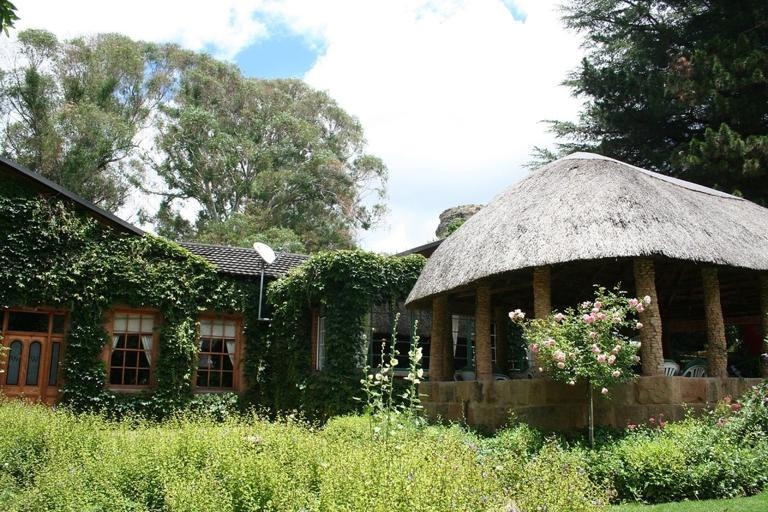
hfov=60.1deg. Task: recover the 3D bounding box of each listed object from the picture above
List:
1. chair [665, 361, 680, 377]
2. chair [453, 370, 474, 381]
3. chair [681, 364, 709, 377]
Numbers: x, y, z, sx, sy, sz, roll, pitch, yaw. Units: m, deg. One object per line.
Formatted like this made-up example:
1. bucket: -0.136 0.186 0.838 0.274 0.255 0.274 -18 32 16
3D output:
1. chair: 5.940 2.370 13.759 0.308 0.292 0.325 -11 -36 15
2. chair: 2.162 3.239 17.980 0.516 0.249 0.323 -1 -8 15
3. chair: 6.658 2.473 14.242 0.939 0.223 0.241 12 -20 -36
